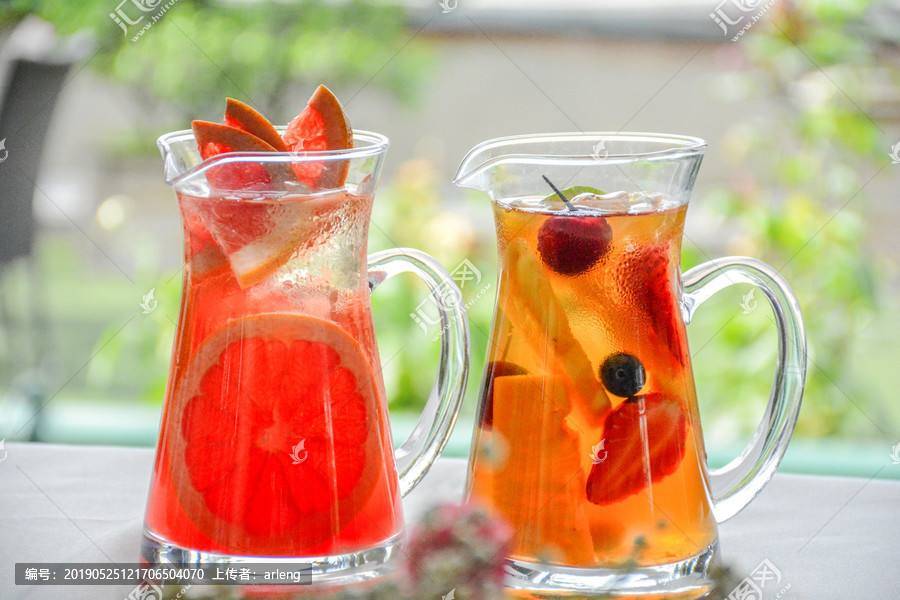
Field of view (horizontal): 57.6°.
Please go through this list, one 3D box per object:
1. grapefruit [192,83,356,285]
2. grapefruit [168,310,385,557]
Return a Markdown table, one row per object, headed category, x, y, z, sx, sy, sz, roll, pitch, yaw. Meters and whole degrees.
| category | x | y | z | sx | sy | sz | roll | pitch | yaw |
| --- | --- | --- | --- | --- | --- | --- | --- | --- | --- |
| grapefruit | -0.194 | -0.149 | 0.950 | 0.161 | 0.138 | 0.109 | 18 | 23 | 32 |
| grapefruit | -0.187 | 0.150 | 0.943 | 0.250 | 0.276 | 0.052 | 3 | 0 | -4 |
